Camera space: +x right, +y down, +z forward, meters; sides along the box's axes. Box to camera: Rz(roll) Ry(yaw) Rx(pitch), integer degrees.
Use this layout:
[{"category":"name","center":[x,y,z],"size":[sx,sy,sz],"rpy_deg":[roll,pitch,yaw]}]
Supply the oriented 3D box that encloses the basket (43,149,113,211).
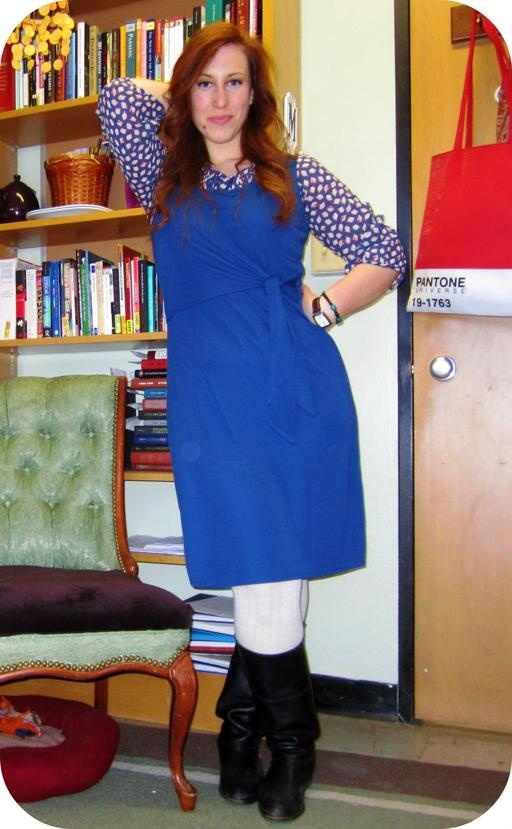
[{"category":"basket","center":[-0.490,-0.665,1.935],"size":[0.192,0.143,0.213],"rpy_deg":[4,19,11]}]

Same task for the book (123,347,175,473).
[{"category":"book","center":[-0.265,0.005,1.697],"size":[0.156,0.308,0.299],"rpy_deg":[-1,-1,2]}]

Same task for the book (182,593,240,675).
[{"category":"book","center":[-0.111,0.522,1.679],"size":[0.149,0.227,0.065],"rpy_deg":[1,-10,-8]}]

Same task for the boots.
[{"category":"boots","center":[0.029,0.583,1.310],"size":[0.203,0.339,0.284],"rpy_deg":[2,-6,1]}]

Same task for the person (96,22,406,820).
[{"category":"person","center":[-0.022,0.034,1.246],"size":[0.568,1.366,0.310],"rpy_deg":[3,-6,-26]}]

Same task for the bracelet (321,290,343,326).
[{"category":"bracelet","center":[0.143,-0.191,1.259],"size":[0.027,0.041,0.053],"rpy_deg":[-32,-29,-4]}]
